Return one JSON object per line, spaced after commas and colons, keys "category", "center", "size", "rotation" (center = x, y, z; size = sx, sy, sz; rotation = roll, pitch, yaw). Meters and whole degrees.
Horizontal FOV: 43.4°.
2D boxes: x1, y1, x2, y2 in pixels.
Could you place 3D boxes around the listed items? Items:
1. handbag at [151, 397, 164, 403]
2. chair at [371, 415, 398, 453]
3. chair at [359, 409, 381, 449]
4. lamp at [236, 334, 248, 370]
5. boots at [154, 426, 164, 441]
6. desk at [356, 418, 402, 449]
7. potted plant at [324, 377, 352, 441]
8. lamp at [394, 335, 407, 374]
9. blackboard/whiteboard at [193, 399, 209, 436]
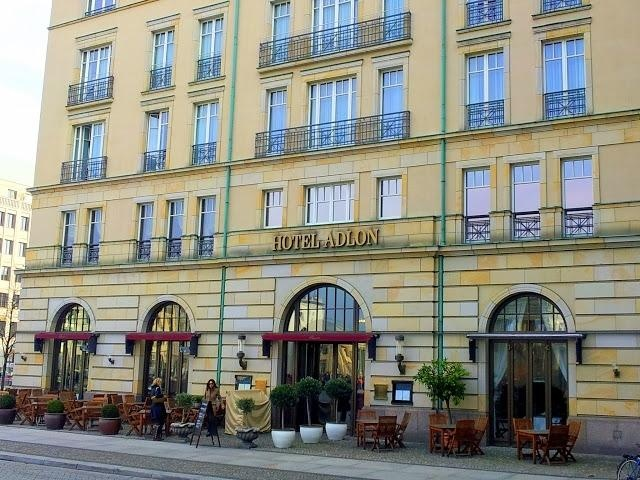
{"category": "handbag", "center": [-5.978, 5.906, 29.855], "size": [0.422, 0.180, 0.304], "rotation": [3, -12, -15]}
{"category": "chair", "center": [2.318, 6.868, 28.693], "size": [1.102, 1.615, 1.219], "rotation": [3, -9, -5]}
{"category": "chair", "center": [1.767, 6.876, 29.566], "size": [0.769, 1.132, 0.844], "rotation": [-2, 2, 0]}
{"category": "lamp", "center": [-3.288, 4.678, 33.903], "size": [0.485, 1.447, 0.383], "rotation": [-2, -12, 11]}
{"category": "boots", "center": [-5.983, 7.145, 29.968], "size": [0.300, 0.561, 0.658], "rotation": [2, -12, -11]}
{"category": "desk", "center": [2.039, 6.908, 28.919], "size": [0.961, 0.890, 1.716], "rotation": [3, -15, -10]}
{"category": "potted plant", "center": [0.735, 6.530, 31.354], "size": [1.030, 2.405, 2.325], "rotation": [0, -12, 2]}
{"category": "lamp", "center": [3.078, 4.386, 31.046], "size": [0.410, 1.504, 0.326], "rotation": [-2, -12, 11]}
{"category": "blackboard/whiteboard", "center": [-4.297, 6.393, 29.403], "size": [0.475, 1.182, 1.251], "rotation": [2, -12, -9]}
